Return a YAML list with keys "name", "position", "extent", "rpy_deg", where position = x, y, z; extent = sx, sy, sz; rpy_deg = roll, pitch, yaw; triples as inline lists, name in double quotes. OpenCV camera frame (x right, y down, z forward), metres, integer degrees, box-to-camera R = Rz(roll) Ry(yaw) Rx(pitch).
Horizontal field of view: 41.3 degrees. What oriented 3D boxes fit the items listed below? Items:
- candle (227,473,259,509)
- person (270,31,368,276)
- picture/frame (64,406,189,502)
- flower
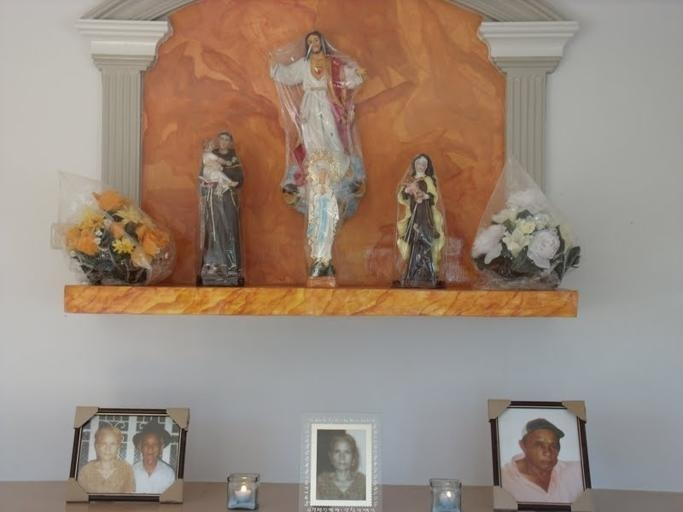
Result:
- name: "candle"
  position: [-0.385, 0.916, 3.560]
  extent: [0.116, 0.130, 0.125]
  rpy_deg: [1, -8, -1]
- name: "person"
  position: [-0.102, -0.402, 3.757]
  extent: [0.390, 1.030, 0.263]
  rpy_deg: [1, -9, 6]
- name: "picture/frame"
  position: [-0.826, 0.770, 3.516]
  extent: [0.325, 0.313, 0.046]
  rpy_deg: [1, -16, 1]
- name: "flower"
  position: [-0.875, -0.105, 3.581]
  extent: [0.407, 0.299, 0.112]
  rpy_deg: [4, -9, -14]
